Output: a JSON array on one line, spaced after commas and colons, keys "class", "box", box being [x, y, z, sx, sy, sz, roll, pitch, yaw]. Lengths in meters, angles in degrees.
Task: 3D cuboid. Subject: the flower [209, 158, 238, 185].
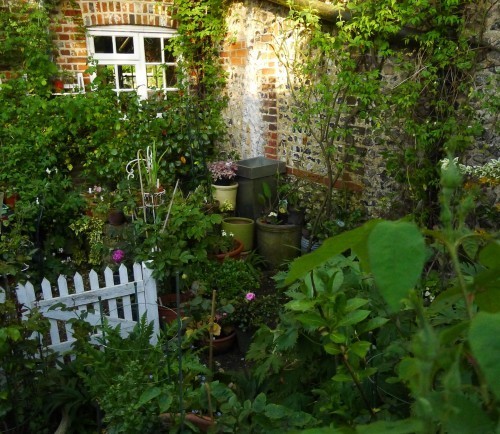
[{"class": "flower", "box": [-0.356, -0.586, 5.308, 0.361, 0.240, 0.344, 0, 7, 1]}]

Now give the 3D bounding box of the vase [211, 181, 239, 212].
[{"class": "vase", "box": [-0.330, -0.249, 5.280, 0.365, 0.368, 0.352, -1, 6, -9]}]

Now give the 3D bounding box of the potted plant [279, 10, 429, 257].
[{"class": "potted plant", "box": [0.852, -0.961, 4.316, 0.722, 2.465, 1.522, -7, 11, -26]}]

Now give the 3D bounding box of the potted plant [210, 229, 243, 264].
[{"class": "potted plant", "box": [-0.260, 0.336, 4.524, 0.335, 0.133, 0.353, -2, 14, -5]}]

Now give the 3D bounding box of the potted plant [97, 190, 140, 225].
[{"class": "potted plant", "box": [-1.447, -0.109, 4.617, 0.442, 0.296, 0.443, 12, 17, 36]}]
